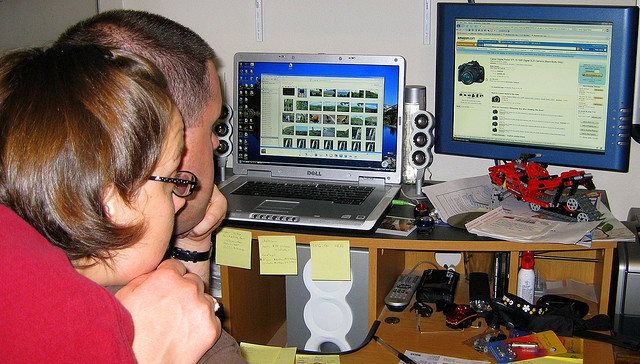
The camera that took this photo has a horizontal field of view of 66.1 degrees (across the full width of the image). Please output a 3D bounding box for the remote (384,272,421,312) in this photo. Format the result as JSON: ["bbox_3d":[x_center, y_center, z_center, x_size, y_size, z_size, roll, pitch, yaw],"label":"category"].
[{"bbox_3d":[0.333,0.417,1.903,0.096,0.048,0.273,-1,16,27],"label":"remote"}]

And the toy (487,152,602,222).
[{"bbox_3d":[0.783,0.012,1.733,0.117,0.169,0.413,-2,11,-31],"label":"toy"}]

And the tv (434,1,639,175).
[{"bbox_3d":[0.796,-0.354,1.756,0.697,0.523,0.053,6,17,21],"label":"tv"}]
